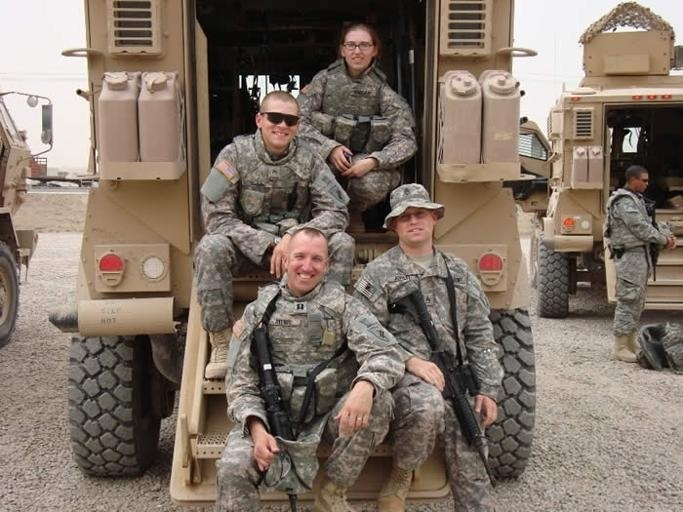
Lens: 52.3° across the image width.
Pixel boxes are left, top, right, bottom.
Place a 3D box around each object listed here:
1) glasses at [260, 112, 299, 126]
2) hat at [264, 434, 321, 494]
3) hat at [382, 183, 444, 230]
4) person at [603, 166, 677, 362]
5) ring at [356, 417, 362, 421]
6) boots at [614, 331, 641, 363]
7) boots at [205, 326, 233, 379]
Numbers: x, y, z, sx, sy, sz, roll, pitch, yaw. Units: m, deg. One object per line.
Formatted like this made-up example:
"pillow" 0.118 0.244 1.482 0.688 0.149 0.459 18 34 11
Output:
"glasses" -0.361 -0.802 4.095 0.203 0.085 0.061 -1 10 -7
"hat" -0.254 1.020 3.555 0.297 0.351 0.258 9 -6 -15
"hat" 0.405 -0.300 3.963 0.262 0.169 0.287 -4 -3 -44
"person" 2.980 0.056 7.102 0.758 1.890 0.686 -9 13 -42
"ring" 0.081 0.789 3.395 0.026 0.019 0.009 -2 10 -10
"boots" 2.871 0.927 7.000 0.260 0.324 0.256 -5 -7 44
"boots" -0.701 0.519 3.962 0.116 0.269 0.364 -2 12 -1
